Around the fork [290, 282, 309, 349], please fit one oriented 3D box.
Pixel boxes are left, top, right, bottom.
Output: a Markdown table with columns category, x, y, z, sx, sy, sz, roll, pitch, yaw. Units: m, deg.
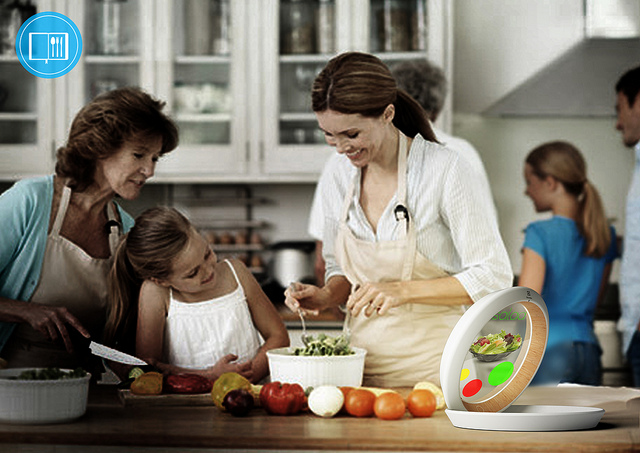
| category | x | y | z | sx | sy | sz | roll | pitch | yaw |
| --- | --- | --- | --- | --- | --- | --- | --- | --- | --- |
| fork | -0.043 | 0.236 | 2.386 | 0.020 | 0.202 | 0.032 | -10 | -4 | -22 |

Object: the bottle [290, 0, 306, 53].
| category | x | y | z | sx | sy | sz | roll | pitch | yaw |
| --- | --- | --- | --- | --- | --- | --- | --- | --- | --- |
| bottle | -0.077 | -0.719 | 3.295 | 0.054 | 0.190 | 0.077 | -1 | 6 | -2 |

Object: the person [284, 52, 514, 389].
| category | x | y | z | sx | sy | sz | roll | pitch | yaw |
| --- | --- | --- | --- | --- | --- | --- | --- | --- | --- |
| person | 0.212 | -0.022 | 2.504 | 0.609 | 0.875 | 0.366 | -1 | 6 | -2 |

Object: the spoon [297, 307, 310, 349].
| category | x | y | z | sx | sy | sz | roll | pitch | yaw |
| --- | --- | --- | --- | --- | --- | --- | --- | --- | --- |
| spoon | -0.043 | 0.241 | 2.372 | 0.024 | 0.149 | 0.021 | -11 | -11 | 18 |

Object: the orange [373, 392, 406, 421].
| category | x | y | z | sx | sy | sz | roll | pitch | yaw |
| --- | --- | --- | --- | --- | --- | --- | --- | --- | --- |
| orange | 0.168 | 0.411 | 2.165 | 0.079 | 0.082 | 0.076 | 6 | 0 | 5 |

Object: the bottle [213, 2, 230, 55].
| category | x | y | z | sx | sy | sz | roll | pitch | yaw |
| --- | --- | --- | --- | --- | --- | --- | --- | --- | --- |
| bottle | -0.336 | -0.678 | 3.153 | 0.056 | 0.162 | 0.154 | -2 | 6 | -7 |

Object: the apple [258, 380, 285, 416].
| category | x | y | z | sx | sy | sz | roll | pitch | yaw |
| --- | --- | --- | --- | --- | --- | --- | --- | --- | --- |
| apple | -0.108 | 0.401 | 2.181 | 0.061 | 0.073 | 0.067 | 0 | -3 | 7 |
